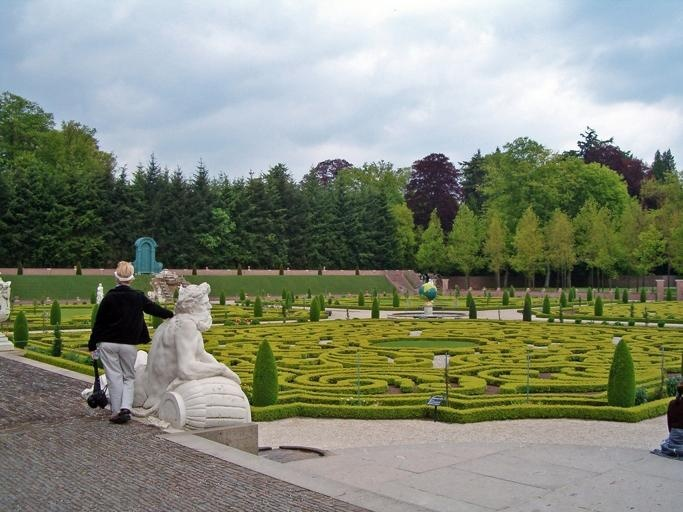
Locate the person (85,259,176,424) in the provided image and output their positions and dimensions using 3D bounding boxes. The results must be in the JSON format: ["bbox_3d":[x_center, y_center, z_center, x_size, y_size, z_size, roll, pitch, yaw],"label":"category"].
[{"bbox_3d":[-3.210,1.273,12.094,1.018,2.378,0.427,-1,-4,-17],"label":"person"}]

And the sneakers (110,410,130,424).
[{"bbox_3d":[-3.237,2.360,11.924,0.346,0.143,0.139,-20,-32,36],"label":"sneakers"}]
